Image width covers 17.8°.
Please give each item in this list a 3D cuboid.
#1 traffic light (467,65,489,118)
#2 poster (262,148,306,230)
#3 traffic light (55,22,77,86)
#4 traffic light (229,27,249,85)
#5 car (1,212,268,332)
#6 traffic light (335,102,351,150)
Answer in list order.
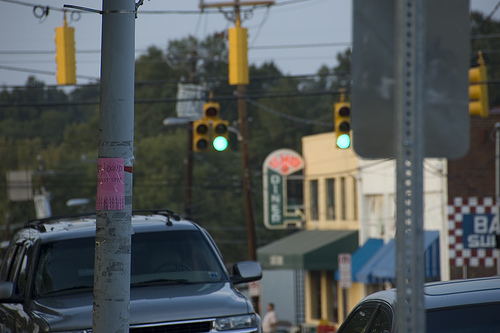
[{"bbox_3d":[6.796,-2.292,47.757,0.536,1.640,0.554,-3,-6,7],"label":"traffic light"},{"bbox_3d":[1.537,0.992,70.217,2.014,3.470,0.253,2,3,31],"label":"poster"},{"bbox_3d":[-5.737,-3.537,49.322,0.606,1.877,0.621,-2,-6,-6],"label":"traffic light"},{"bbox_3d":[-0.407,-3.196,48.160,0.550,1.340,0.470,-1,-1,-20],"label":"traffic light"},{"bbox_3d":[-4.069,3.081,45.447,3.847,2.481,5.216,3,-14,-24],"label":"car"},{"bbox_3d":[2.878,-1.339,50.298,0.469,1.519,0.534,-2,-6,2],"label":"traffic light"}]
